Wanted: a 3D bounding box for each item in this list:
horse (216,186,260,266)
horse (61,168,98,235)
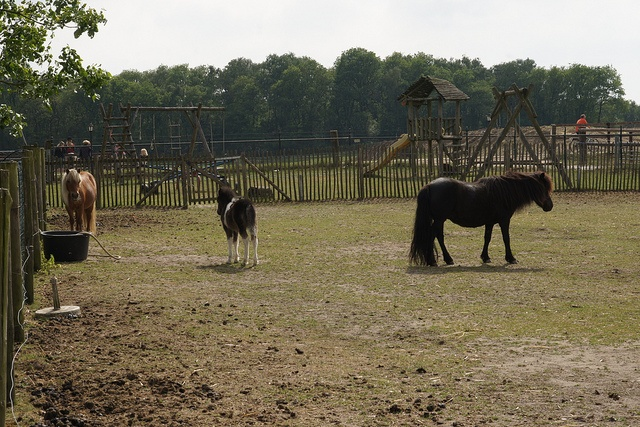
[{"bbox_3d":[-1.914,0.286,22.184,0.658,1.789,1.453,-3,4,-20],"label":"horse"},{"bbox_3d":[-6.242,-0.299,24.296,0.574,1.713,1.112,-1,4,7],"label":"horse"}]
